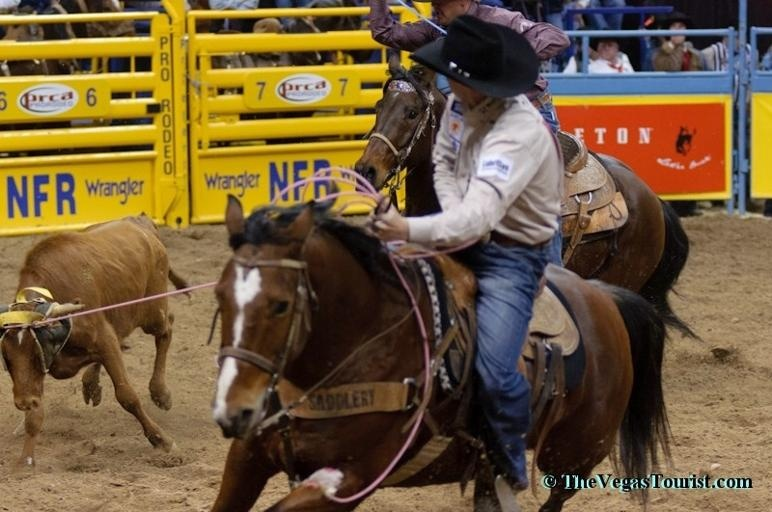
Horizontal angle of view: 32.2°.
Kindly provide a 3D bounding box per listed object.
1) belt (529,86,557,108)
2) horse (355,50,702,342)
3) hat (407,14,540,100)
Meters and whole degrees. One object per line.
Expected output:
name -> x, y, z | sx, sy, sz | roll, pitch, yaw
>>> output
belt -> 1.304, -1.351, 11.374 | 0.188, 0.138, 0.146 | -36, 17, -36
horse -> 1.312, -0.171, 11.925 | 3.948, 2.113, 0.950 | 9, 1, -24
hat -> 0.620, -1.354, 9.081 | 0.727, 0.600, 0.259 | 34, -24, -3
